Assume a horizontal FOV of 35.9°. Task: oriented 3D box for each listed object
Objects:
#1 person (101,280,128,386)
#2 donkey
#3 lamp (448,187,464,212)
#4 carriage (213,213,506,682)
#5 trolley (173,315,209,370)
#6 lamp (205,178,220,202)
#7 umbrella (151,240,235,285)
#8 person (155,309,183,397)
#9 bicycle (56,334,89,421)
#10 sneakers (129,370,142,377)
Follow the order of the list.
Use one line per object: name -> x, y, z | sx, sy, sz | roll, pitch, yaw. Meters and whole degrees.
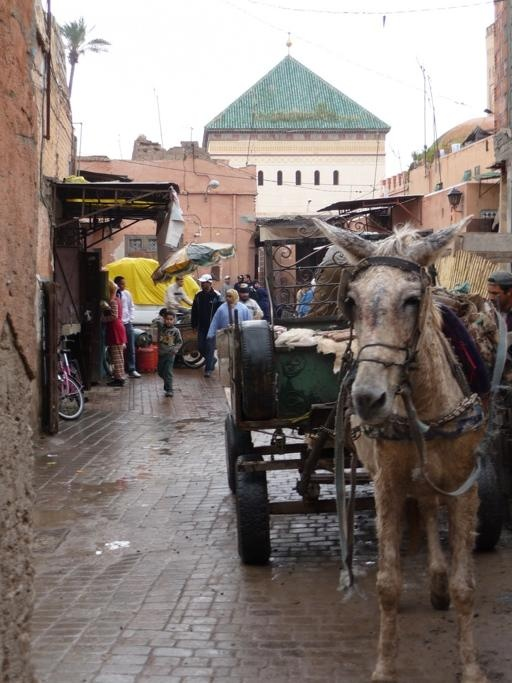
person -> -2.604, -0.120, 14.763 | 0.353, 1.949, 0.727 | -3, 4, -10
donkey -> 0.652, 0.474, 3.382 | 0.636, 1.980, 1.533 | -2, 3, 16
lamp -> 5.365, -3.895, 21.305 | 0.376, 0.568, 0.784 | -2, 3, 12
carriage -> 0.549, 0.416, 4.161 | 1.165, 1.823, 3.024 | -1, -3, 4
trolley -> -1.521, 0.132, 18.063 | 1.244, 1.016, 0.895 | -1, 6, -4
lamp -> -1.937, -6.702, 34.782 | 0.679, 0.956, 0.737 | -3, 3, -3
umbrella -> -1.526, -1.970, 19.216 | 1.127, 0.513, 1.510 | -25, -1, 38
person -> -1.462, 0.196, 13.400 | 0.393, 1.512, 1.106 | -3, 3, -8
bicycle -> -2.707, 0.569, 11.554 | 0.349, 1.120, 1.272 | -4, 3, -14
sneakers -> -2.576, 0.701, 16.800 | 0.108, 0.111, 0.276 | 2, -7, -29
